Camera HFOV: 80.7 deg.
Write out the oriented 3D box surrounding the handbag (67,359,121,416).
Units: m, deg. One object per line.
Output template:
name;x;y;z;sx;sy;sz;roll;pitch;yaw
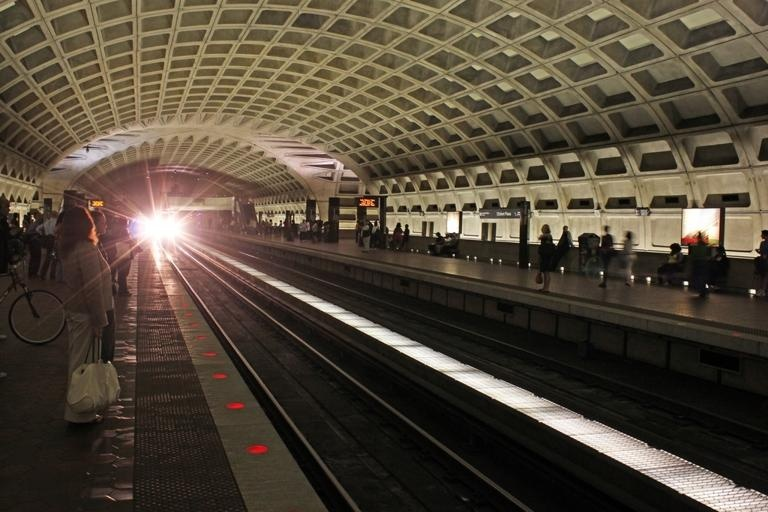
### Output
handbag;-4.197;1.875;6.534;0.412;0.680;0.827;-2;-15;5
